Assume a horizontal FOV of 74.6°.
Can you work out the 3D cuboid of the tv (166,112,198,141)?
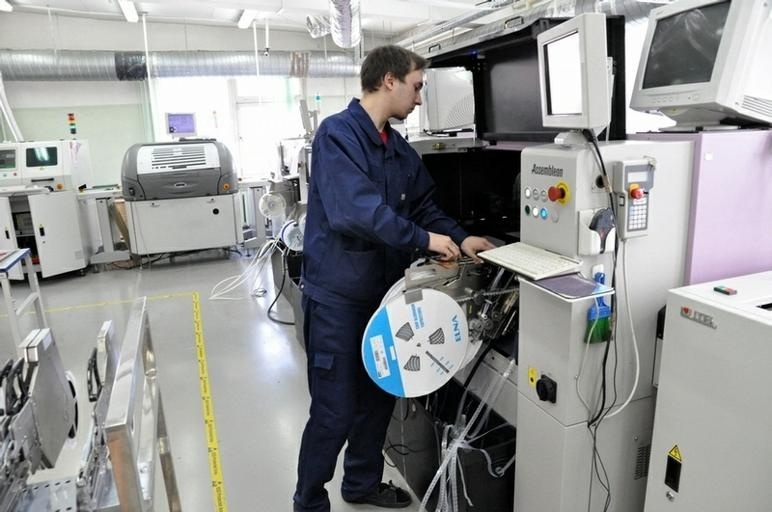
[{"bbox_3d":[-2.265,-1.466,5.588,0.388,0.429,0.132,-3,2,-22],"label":"tv"}]

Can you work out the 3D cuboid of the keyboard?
[{"bbox_3d":[0.504,0.014,1.813,0.170,0.090,0.338,-14,15,-31],"label":"keyboard"}]

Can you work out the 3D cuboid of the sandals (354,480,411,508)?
[{"bbox_3d":[-0.017,1.122,2.373,0.221,0.075,0.115,-4,7,-1],"label":"sandals"}]

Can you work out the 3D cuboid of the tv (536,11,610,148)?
[{"bbox_3d":[0.607,-0.601,1.681,0.095,0.342,0.256,-12,14,-29],"label":"tv"}]

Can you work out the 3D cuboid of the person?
[{"bbox_3d":[-0.073,0.166,2.172,0.874,2.040,0.423,-9,13,-16],"label":"person"}]

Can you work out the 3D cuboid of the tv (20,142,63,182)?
[{"bbox_3d":[-3.494,-0.982,5.145,0.353,0.380,0.218,-9,13,-15],"label":"tv"}]
